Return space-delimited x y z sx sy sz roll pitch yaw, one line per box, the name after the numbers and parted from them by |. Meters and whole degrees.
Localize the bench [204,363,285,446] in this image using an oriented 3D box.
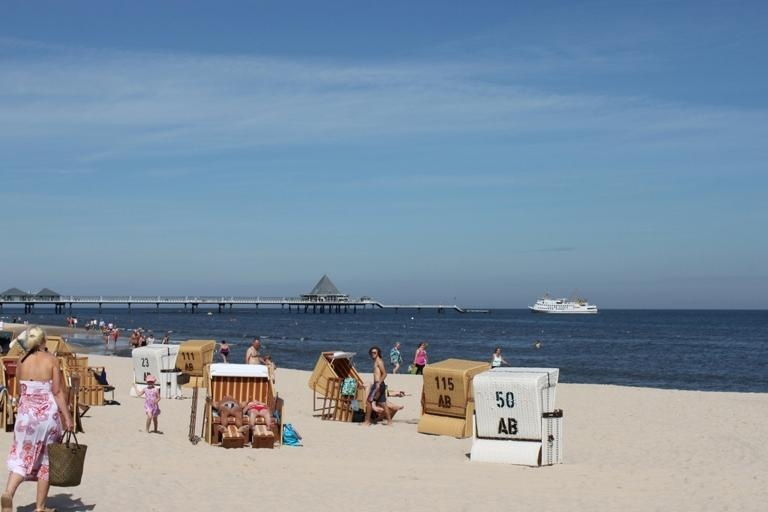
-3.390 3.555 23.075 1.762 1.468 2.221 4 11 -25 | bench

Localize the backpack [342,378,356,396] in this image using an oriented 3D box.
-0.934 3.506 25.670 0.400 0.450 0.200 1 -5 -3 | backpack

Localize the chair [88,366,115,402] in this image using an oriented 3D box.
-8.016 3.641 27.270 0.590 0.776 0.536 0 -8 -26 | chair

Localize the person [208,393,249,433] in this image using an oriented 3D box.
-3.670 3.723 22.879 1.111 0.475 1.696 4 19 -18 | person
